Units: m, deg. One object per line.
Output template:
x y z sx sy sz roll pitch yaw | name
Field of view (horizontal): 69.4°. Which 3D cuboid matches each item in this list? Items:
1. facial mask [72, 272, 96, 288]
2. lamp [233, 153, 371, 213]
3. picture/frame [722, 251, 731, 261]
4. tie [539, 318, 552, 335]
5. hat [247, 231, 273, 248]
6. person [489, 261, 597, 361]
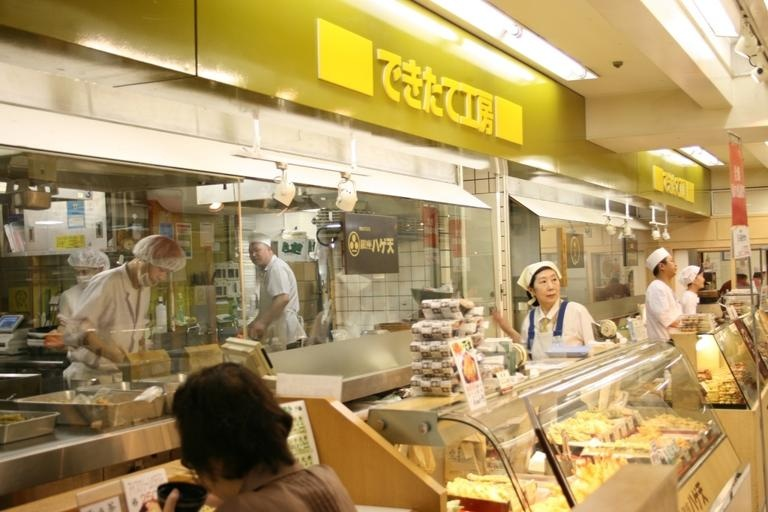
-1.368 0.107 2.523 0.063 0.047 0.060 2 -12 -2 | facial mask
-0.518 -0.474 3.666 1.016 0.299 0.120 1 -3 -42 | lamp
6.944 -0.022 11.289 0.195 0.171 0.099 2 1 14 | picture/frame
1.217 0.528 4.215 0.040 0.101 0.106 11 -7 -38 | tie
-0.815 -0.108 3.646 0.112 0.094 0.084 -11 -3 4 | hat
1.242 0.437 4.531 0.529 1.177 0.639 0 -11 -44 | person
